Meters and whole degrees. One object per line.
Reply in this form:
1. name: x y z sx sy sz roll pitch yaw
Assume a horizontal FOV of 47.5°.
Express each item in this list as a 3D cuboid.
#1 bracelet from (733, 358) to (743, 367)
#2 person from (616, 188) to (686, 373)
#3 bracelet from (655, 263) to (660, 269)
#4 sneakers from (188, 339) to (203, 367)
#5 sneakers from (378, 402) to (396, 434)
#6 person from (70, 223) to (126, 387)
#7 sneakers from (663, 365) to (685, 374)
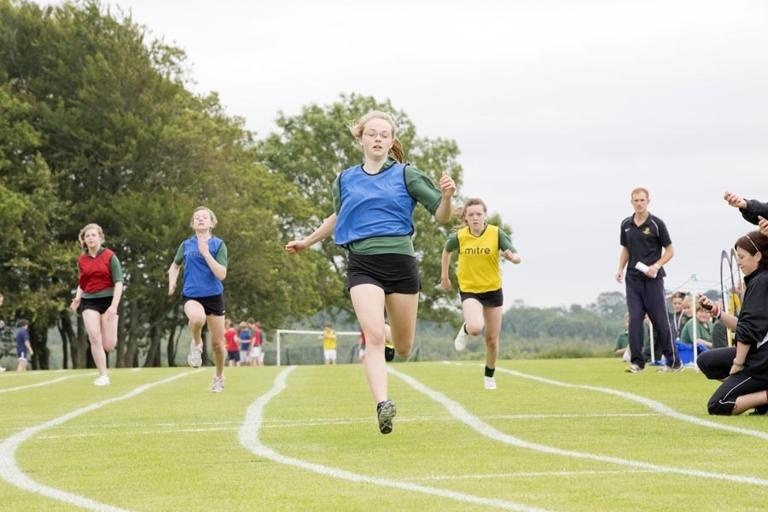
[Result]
1. bracelet: 4.225 1.295 10.436 0.090 0.076 0.093 4 0 -13
2. person: 4.678 0.472 15.710 0.967 3.259 1.185 -2 -7 14
3. bracelet: 4.785 0.195 15.308 0.084 0.084 0.290 -3 -6 25
4. sneakers: -3.026 1.655 14.341 0.226 0.598 0.272 2 -11 -21
5. sneakers: 0.026 1.676 8.949 0.156 0.358 0.175 -3 10 -32
6. person: -4.858 0.850 14.893 0.761 2.763 1.092 2 -7 -18
7. sneakers: 5.246 2.091 15.922 0.431 0.173 0.146 1 -6 -2
